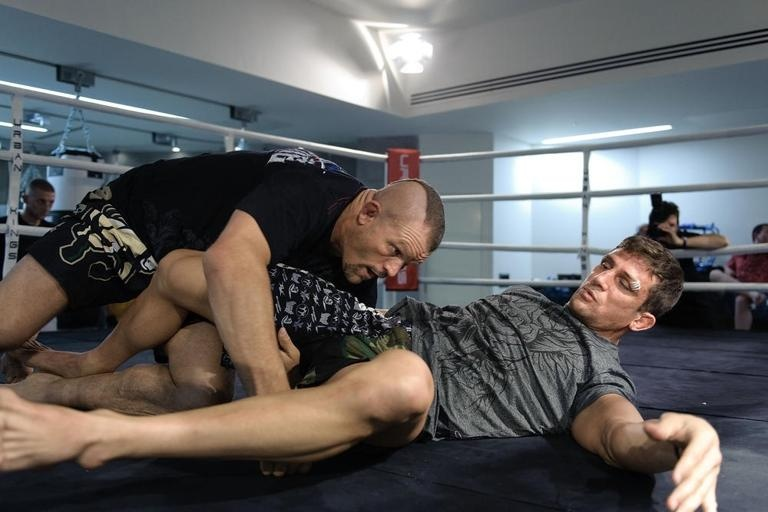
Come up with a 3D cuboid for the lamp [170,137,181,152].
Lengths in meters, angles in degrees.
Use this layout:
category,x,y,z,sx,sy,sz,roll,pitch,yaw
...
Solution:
category,x,y,z,sx,sy,sz,roll,pitch,yaw
lamp,-2.792,-1.457,7.124,0.146,0.127,0.130,-2,0,13
